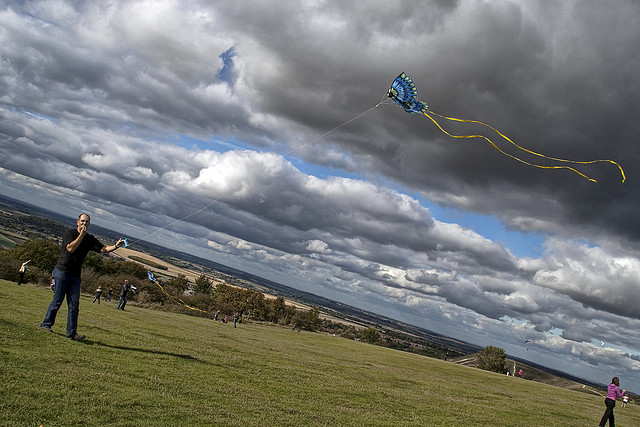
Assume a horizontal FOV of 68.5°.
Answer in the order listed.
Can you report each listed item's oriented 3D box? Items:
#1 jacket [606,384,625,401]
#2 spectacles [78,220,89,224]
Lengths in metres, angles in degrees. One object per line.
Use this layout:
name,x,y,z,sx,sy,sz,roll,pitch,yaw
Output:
jacket,15.585,9.464,24.756,0.673,0.795,0.663,12,-13,19
spectacles,-8.642,0.286,17.153,0.320,0.107,0.094,16,-12,0
